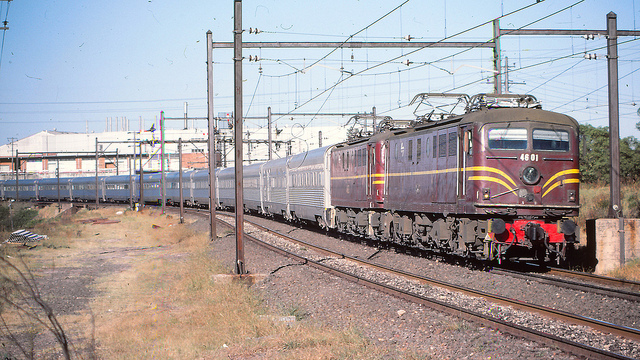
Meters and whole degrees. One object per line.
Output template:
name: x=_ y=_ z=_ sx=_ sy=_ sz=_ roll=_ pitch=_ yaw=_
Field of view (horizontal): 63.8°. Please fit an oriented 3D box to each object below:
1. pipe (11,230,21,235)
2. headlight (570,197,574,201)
pipe: x=-23.005 y=4.021 z=38.519 sx=0.469 sy=0.444 sz=3.857 roll=2 pitch=-10 yaw=-33
headlight: x=10.686 y=0.792 z=21.721 sx=0.155 sy=0.141 sz=0.037 roll=9 pitch=7 yaw=35
